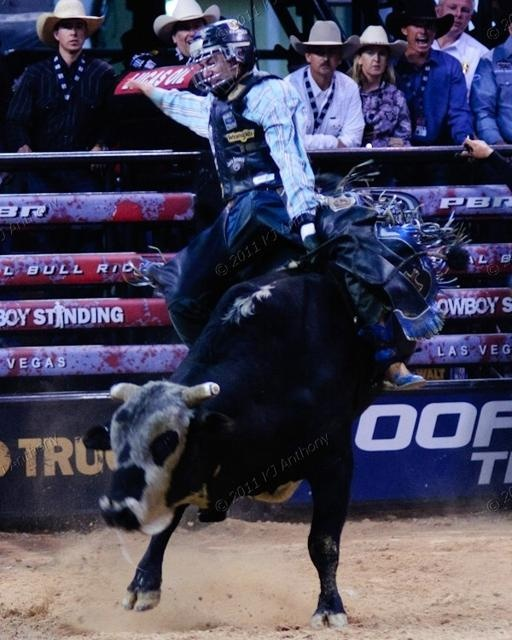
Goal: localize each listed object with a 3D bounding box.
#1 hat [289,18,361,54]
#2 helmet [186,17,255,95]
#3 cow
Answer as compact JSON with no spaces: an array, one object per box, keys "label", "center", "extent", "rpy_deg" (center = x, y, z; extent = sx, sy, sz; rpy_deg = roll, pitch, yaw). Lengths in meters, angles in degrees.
[{"label":"hat","center":[0.521,-2.112,8.329],"extent":[0.365,0.124,0.365],"rpy_deg":[0,-11,2]},{"label":"helmet","center":[-0.195,-1.506,6.338],"extent":[0.365,0.427,0.172],"rpy_deg":[0,12,0]},{"label":"cow","center":[0.270,0.504,6.042],"extent":[1.076,1.345,2.710],"rpy_deg":[5,17,25]}]
